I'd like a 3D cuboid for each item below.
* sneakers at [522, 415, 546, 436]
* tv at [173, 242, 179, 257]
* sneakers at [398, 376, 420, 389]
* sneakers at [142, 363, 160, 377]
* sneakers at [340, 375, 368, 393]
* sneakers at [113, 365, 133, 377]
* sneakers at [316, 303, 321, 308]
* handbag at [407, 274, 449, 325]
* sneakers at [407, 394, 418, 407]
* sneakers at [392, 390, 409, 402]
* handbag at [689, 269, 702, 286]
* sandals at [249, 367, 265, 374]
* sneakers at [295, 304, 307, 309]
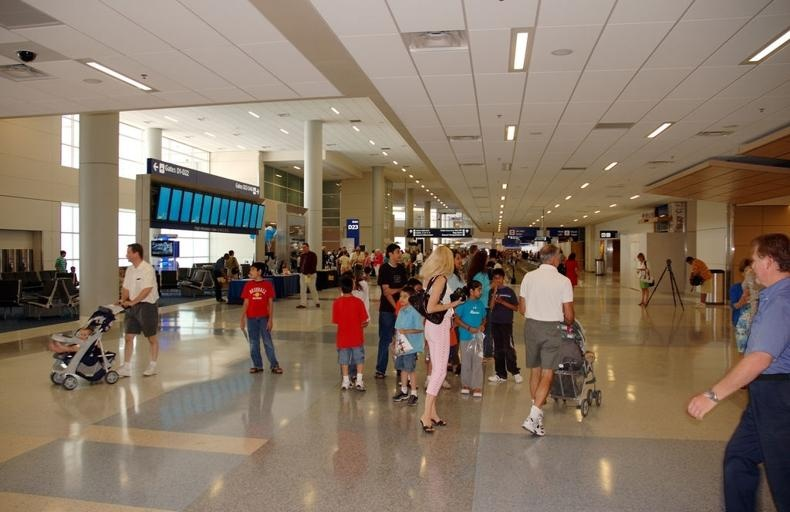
[{"bbox_3d":[1.764,2.176,6.611,0.407,0.181,0.160,17,-8,-42],"label":"sneakers"},{"bbox_3d":[-10.230,-0.368,24.412,0.193,0.814,1.023,-5,10,-23],"label":"tv"},{"bbox_3d":[0.166,1.884,7.725,0.401,0.152,0.146,1,-2,27],"label":"sneakers"},{"bbox_3d":[-4.125,1.948,8.834,0.136,0.129,0.315,-1,-15,-3],"label":"sneakers"},{"bbox_3d":[-0.641,1.977,8.128,0.179,0.209,0.512,1,3,18],"label":"sneakers"},{"bbox_3d":[-4.524,1.941,8.787,0.413,0.157,0.143,7,-7,-4],"label":"sneakers"},{"bbox_3d":[-2.436,1.562,16.580,0.112,0.101,0.111,-1,3,-28],"label":"sneakers"},{"bbox_3d":[0.441,0.593,6.840,0.361,0.565,0.613,17,6,-26],"label":"handbag"},{"bbox_3d":[0.249,2.094,7.531,0.129,0.120,0.299,-2,-10,11],"label":"sneakers"},{"bbox_3d":[0.041,2.067,7.653,0.291,0.117,0.105,3,-8,-31],"label":"sneakers"},{"bbox_3d":[9.639,0.693,16.772,0.446,0.496,0.192,1,-7,21],"label":"handbag"},{"bbox_3d":[-2.386,1.966,8.901,0.086,0.080,0.208,-3,-12,17],"label":"sandals"},{"bbox_3d":[-2.926,1.578,16.202,0.338,0.116,0.116,3,-2,5],"label":"sneakers"}]
